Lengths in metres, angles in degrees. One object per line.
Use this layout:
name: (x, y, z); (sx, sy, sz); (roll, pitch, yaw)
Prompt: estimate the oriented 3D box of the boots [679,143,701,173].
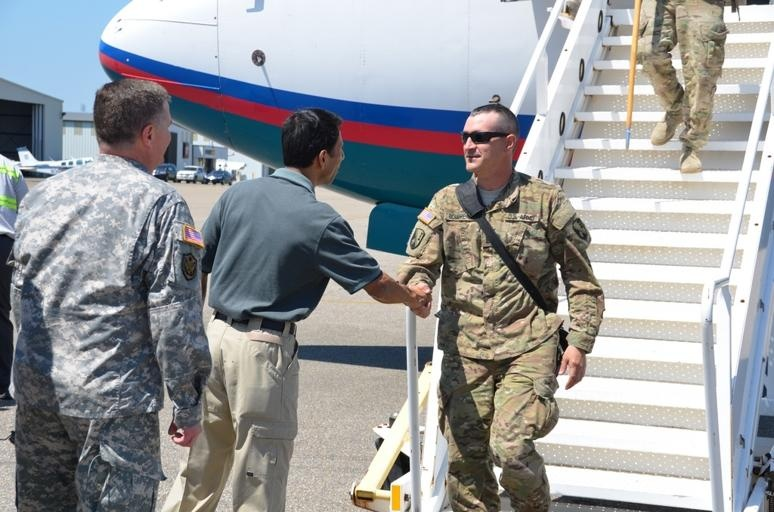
boots: (2.181, -0.708, 8.040); (0.144, 0.213, 0.129); (-4, 8, 14)
